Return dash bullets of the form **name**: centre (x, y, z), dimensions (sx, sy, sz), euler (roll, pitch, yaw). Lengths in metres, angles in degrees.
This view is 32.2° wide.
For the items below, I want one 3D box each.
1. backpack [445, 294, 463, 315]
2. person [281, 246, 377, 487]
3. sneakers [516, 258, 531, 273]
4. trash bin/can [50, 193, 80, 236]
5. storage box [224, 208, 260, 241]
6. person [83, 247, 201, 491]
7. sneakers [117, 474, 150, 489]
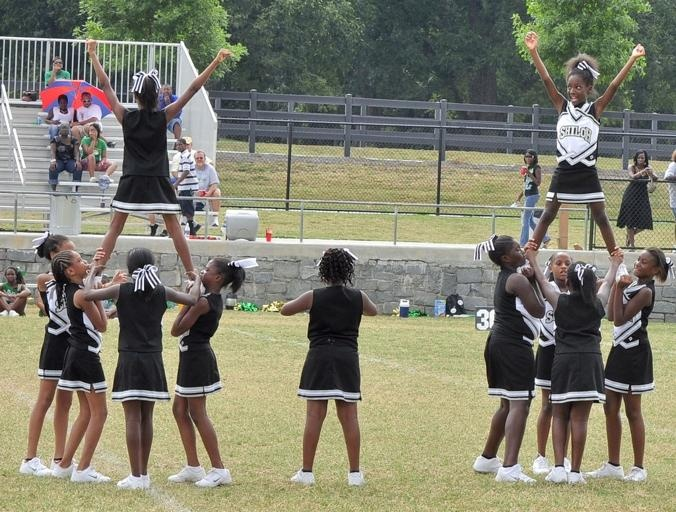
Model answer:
- **backpack**: centre (2.201, 0.912, 21.811), dimensions (0.362, 0.349, 0.214), euler (2, 14, 4)
- **person**: centre (-0.053, 1.265, 13.341), dimensions (0.903, 2.628, 0.737), euler (1, 14, 2)
- **sneakers**: centre (2.159, 0.099, 13.475), dimensions (0.128, 0.109, 0.136), euler (2, -14, -11)
- **trash bin/can**: centre (-5.067, -0.777, 21.420), dimensions (0.613, 1.023, 0.659), euler (1, 2, -6)
- **storage box**: centre (-1.789, -0.616, 21.865), dimensions (0.512, 0.515, 0.561), euler (1, 6, -4)
- **person**: centre (-2.216, 1.245, 13.210), dimensions (0.957, 2.601, 0.846), euler (-11, 18, -41)
- **sneakers**: centre (-2.274, 2.497, 13.048), dimensions (0.284, 0.132, 0.168), euler (4, 1, 11)
